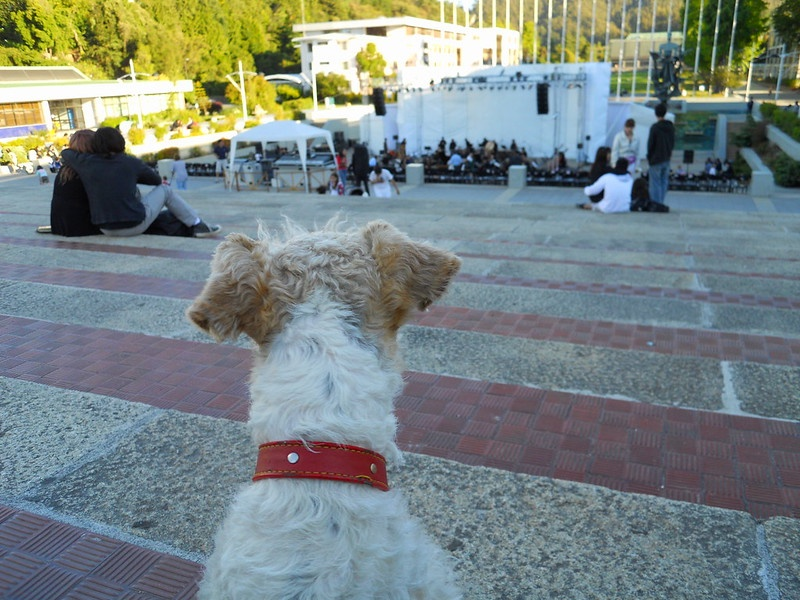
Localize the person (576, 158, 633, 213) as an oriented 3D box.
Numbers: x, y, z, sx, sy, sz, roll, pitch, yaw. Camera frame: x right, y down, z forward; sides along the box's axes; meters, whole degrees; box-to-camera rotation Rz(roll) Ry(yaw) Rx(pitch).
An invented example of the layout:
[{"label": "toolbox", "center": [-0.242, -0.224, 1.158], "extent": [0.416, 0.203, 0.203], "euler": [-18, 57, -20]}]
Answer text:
[{"label": "person", "center": [5.047, -2.791, 12.217], "extent": [1.149, 1.192, 1.234], "euler": [-1, 17, 4]}]

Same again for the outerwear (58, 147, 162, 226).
[{"label": "outerwear", "center": [-4.432, -1.766, 7.971], "extent": [1.561, 1.160, 1.667], "euler": [-4, 24, -15]}]

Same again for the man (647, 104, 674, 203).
[{"label": "man", "center": [6.194, -3.447, 12.023], "extent": [0.558, 2.362, 1.613], "euler": [9, 25, 24]}]

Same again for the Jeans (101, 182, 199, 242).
[{"label": "Jeans", "center": [-4.062, -1.472, 8.077], "extent": [1.013, 0.689, 1.558], "euler": [0, 6, 31]}]

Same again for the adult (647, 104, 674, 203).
[{"label": "adult", "center": [6.110, -3.385, 11.871], "extent": [0.552, 2.350, 1.244], "euler": [9, 25, 24]}]
